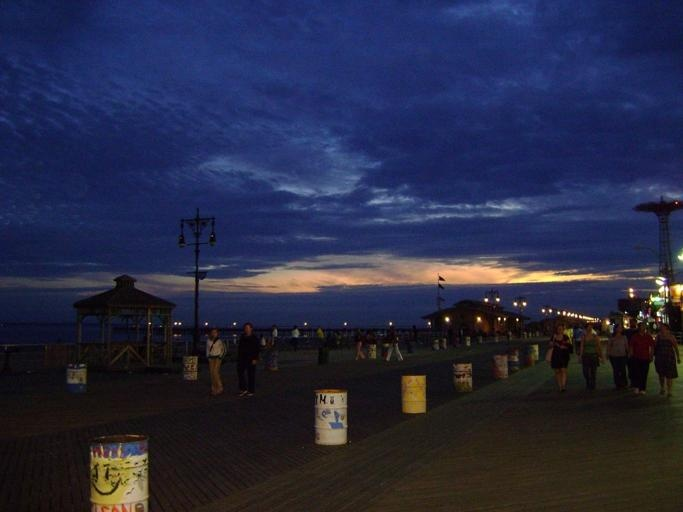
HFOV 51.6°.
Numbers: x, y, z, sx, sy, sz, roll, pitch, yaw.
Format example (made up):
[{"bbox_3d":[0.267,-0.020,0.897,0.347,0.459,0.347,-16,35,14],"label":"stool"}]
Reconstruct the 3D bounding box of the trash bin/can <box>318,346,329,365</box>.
[{"bbox_3d":[-0.901,5.007,35.481,0.501,0.791,1.127,-1,-7,-7],"label":"trash bin/can"}]

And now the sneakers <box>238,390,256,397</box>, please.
[{"bbox_3d":[-2.792,4.029,20.642,0.470,0.166,0.172,1,-4,42],"label":"sneakers"}]
